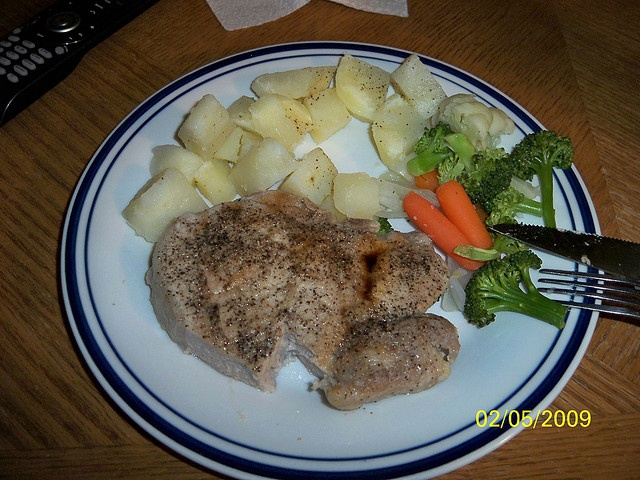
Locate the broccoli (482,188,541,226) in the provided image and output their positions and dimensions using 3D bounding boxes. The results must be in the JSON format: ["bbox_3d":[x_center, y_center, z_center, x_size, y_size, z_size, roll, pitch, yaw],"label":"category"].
[{"bbox_3d":[1.418,-0.277,4.498,0.327,0.265,0.478,-9,30,-16],"label":"broccoli"}]

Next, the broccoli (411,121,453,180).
[{"bbox_3d":[0.859,-0.692,4.524,0.263,0.118,0.442,20,66,8],"label":"broccoli"}]

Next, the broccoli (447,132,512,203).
[{"bbox_3d":[1.229,-0.552,4.501,0.373,0.401,0.312,-5,31,-6],"label":"broccoli"}]

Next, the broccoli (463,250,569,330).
[{"bbox_3d":[1.352,0.376,4.062,0.567,0.217,0.576,30,81,17],"label":"broccoli"}]

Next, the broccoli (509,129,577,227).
[{"bbox_3d":[1.735,-0.540,4.623,0.461,0.363,0.754,-3,57,10],"label":"broccoli"}]

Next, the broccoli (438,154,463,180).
[{"bbox_3d":[0.998,-0.547,4.486,0.170,0.065,0.194,2,84,7],"label":"broccoli"}]

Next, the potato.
[{"bbox_3d":[1.175,-0.927,4.453,0.457,0.141,0.461,40,77,18],"label":"potato"}]
